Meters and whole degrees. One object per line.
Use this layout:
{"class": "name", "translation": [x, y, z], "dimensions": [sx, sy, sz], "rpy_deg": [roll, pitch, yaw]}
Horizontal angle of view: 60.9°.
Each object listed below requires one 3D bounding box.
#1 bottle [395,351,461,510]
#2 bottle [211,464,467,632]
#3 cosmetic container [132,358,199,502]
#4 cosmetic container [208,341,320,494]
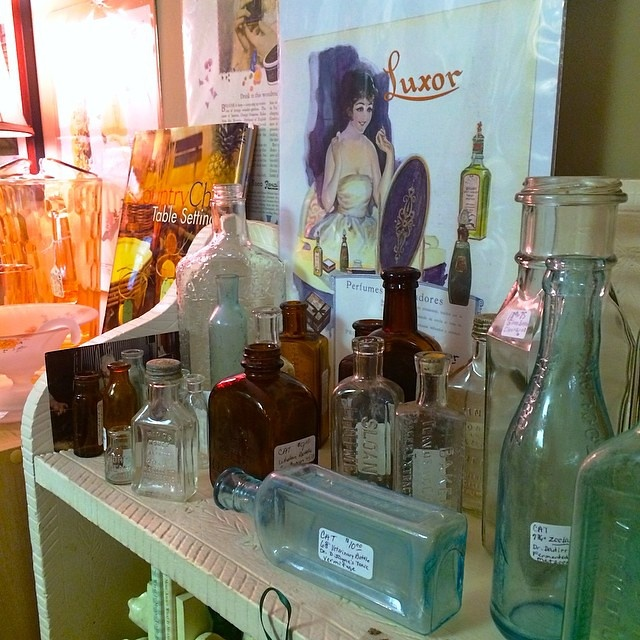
{"class": "bottle", "translation": [0.113, 0.115, 0.550], "dimensions": [0.064, 0.194, 0.037], "rpy_deg": [2, 31, 12]}
{"class": "bottle", "translation": [0.005, 0.158, 0.542], "dimensions": [0.276, 0.124, 0.077], "rpy_deg": [19, 13, 39]}
{"class": "cosmetic container", "translation": [-0.186, 0.129, 0.654], "dimensions": [0.064, 0.172, 0.050], "rpy_deg": [7, 16, 10]}
{"class": "cosmetic container", "translation": [-0.070, 0.109, 0.632], "dimensions": [0.100, 0.179, 0.086], "rpy_deg": [17, 22, 34]}
